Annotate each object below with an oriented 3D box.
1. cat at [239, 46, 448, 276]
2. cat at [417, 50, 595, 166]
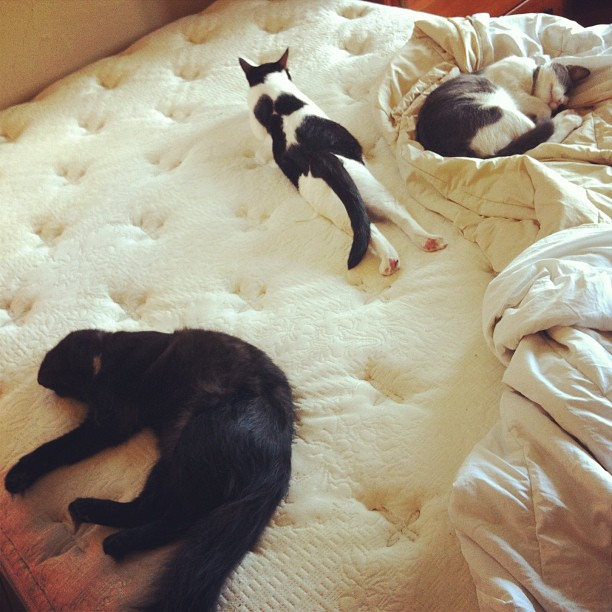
[{"bbox_3d":[0.102,-0.352,1.900,0.215,0.293,0.673,-39,73,-11],"label":"cat"},{"bbox_3d":[0.509,-0.467,1.986,0.446,0.098,0.318,-8,40,17],"label":"cat"}]
